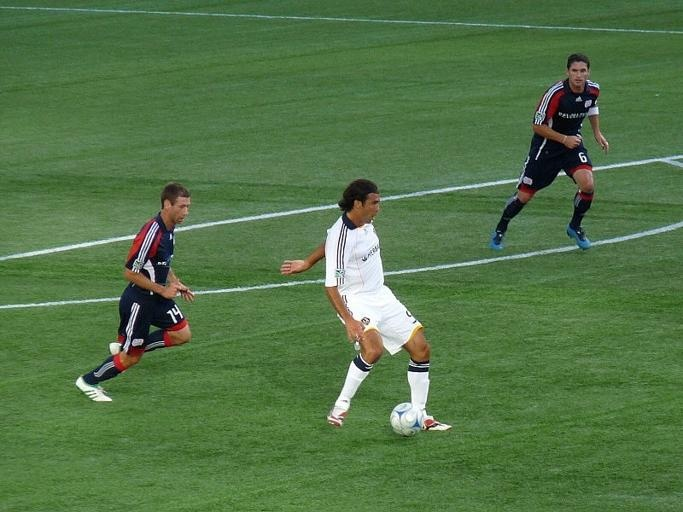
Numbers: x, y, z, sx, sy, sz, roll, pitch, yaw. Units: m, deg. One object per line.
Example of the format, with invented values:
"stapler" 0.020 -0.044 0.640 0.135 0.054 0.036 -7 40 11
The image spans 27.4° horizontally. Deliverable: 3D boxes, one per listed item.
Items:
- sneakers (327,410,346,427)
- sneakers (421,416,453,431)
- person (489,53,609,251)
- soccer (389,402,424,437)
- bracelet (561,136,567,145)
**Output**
"sneakers" -0.025 1.609 13.786 0.196 0.151 0.157 -6 17 -12
"sneakers" 0.962 1.639 13.720 0.205 0.150 0.231 10 20 37
"person" 2.718 -1.320 17.741 1.323 2.418 1.245 -1 20 9
"soccer" 0.635 1.610 13.588 0.209 0.327 0.235 -21 25 -40
"bracelet" 2.788 -1.412 17.339 0.065 0.089 0.123 0 16 11
